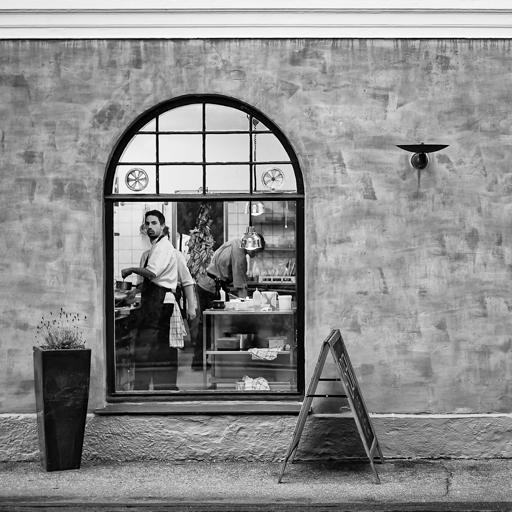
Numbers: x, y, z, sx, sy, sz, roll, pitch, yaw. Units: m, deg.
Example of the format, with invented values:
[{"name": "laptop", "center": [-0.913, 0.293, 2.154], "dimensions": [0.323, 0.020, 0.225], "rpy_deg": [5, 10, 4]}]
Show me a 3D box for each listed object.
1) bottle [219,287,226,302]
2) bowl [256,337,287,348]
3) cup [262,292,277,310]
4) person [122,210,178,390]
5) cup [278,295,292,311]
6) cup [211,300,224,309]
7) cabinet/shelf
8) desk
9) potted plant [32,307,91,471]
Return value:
[{"name": "bottle", "center": [-0.335, 0.401, 10.536], "dimensions": [0.092, 0.179, 0.091], "rpy_deg": [1, 4, 0]}, {"name": "bowl", "center": [0.153, 0.855, 10.424], "dimensions": [0.331, 0.111, 0.052], "rpy_deg": [-1, 0, 39]}, {"name": "cup", "center": [0.143, 0.444, 10.362], "dimensions": [0.200, 0.179, 0.106], "rpy_deg": [-1, 0, 44]}, {"name": "person", "center": [-0.982, 0.429, 10.336], "dimensions": [0.417, 1.692, 0.346], "rpy_deg": [-1, 0, -5]}, {"name": "cup", "center": [0.279, 0.464, 10.268], "dimensions": [0.130, 0.133, 0.136], "rpy_deg": [1, 4, 0]}, {"name": "cup", "center": [-0.379, 0.495, 10.555], "dimensions": [0.107, 0.080, 0.079], "rpy_deg": [1, -2, -1]}, {"name": "cabinet/shelf", "center": [0.107, -0.098, 10.201], "dimensions": [0.279, 0.816, 0.640], "rpy_deg": [-1, 0, -41]}, {"name": "desk", "center": [-0.041, 0.933, 10.337], "dimensions": [0.882, 0.847, 0.336], "rpy_deg": [-1, -3, 4]}, {"name": "potted plant", "center": [-1.772, 1.215, 9.670], "dimensions": [0.504, 1.389, 0.518], "rpy_deg": [-1, 0, -13]}]
